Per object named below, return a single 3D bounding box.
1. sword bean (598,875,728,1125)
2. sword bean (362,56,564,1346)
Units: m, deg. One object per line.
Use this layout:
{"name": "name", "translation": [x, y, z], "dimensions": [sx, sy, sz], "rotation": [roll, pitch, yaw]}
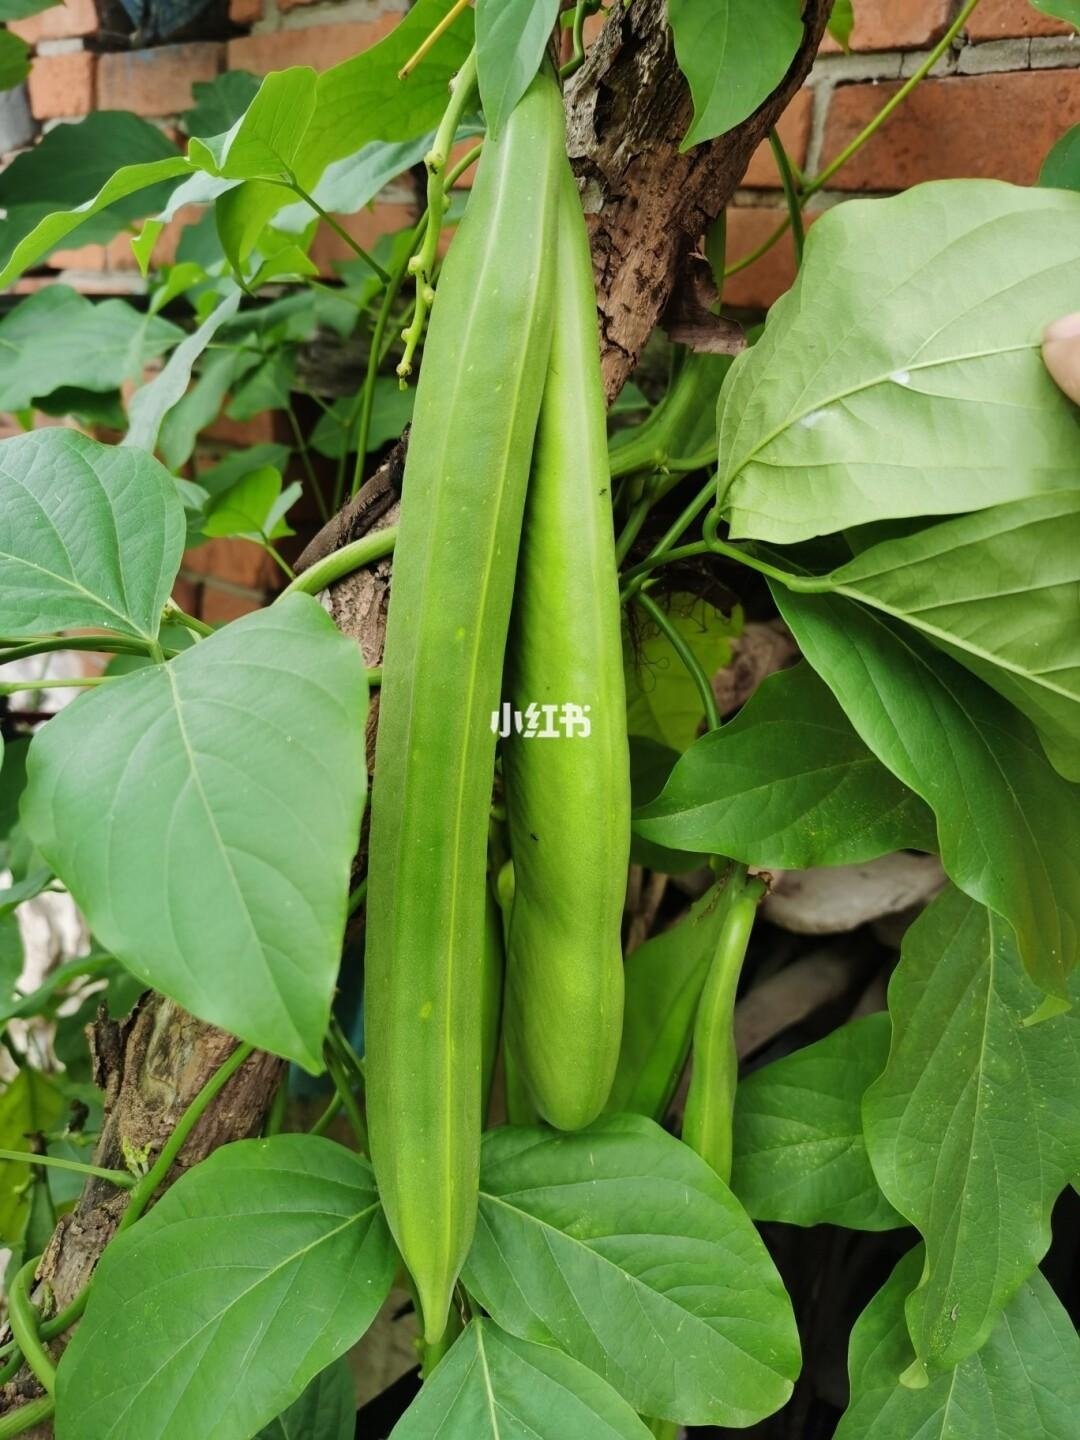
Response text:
{"name": "sword bean", "translation": [0.067, 0.107, 0.624], "dimensions": [0.037, 0.031, 0.127], "rotation": [15, 59, 24]}
{"name": "sword bean", "translation": [-0.012, -0.027, 0.486], "dimensions": [0.054, 0.430, 0.052], "rotation": [5, -12, 2]}
